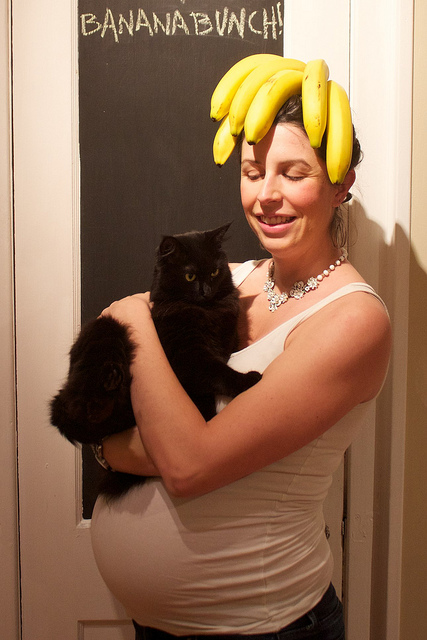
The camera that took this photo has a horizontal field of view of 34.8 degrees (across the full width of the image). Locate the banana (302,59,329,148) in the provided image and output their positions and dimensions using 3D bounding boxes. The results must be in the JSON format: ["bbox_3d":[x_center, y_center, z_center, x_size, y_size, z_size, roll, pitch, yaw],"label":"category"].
[{"bbox_3d":[0.206,-0.457,1.466,0.065,0.207,0.047,24,-34,-37],"label":"banana"}]

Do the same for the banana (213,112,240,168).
[{"bbox_3d":[0.029,-0.417,1.627,0.044,0.141,0.043,9,10,-43],"label":"banana"}]

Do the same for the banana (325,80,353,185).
[{"bbox_3d":[0.253,-0.399,1.449,0.054,0.218,0.067,0,-15,0],"label":"banana"}]

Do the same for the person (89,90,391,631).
[{"bbox_3d":[0.039,0.114,1.523,0.661,1.209,0.446,-4,7,-10],"label":"person"}]

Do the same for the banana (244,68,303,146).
[{"bbox_3d":[0.137,-0.469,1.467,0.062,0.180,0.185,2,9,40],"label":"banana"}]

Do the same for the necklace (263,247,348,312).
[{"bbox_3d":[0.202,-0.074,1.588,0.174,0.024,0.146,-38,20,25],"label":"necklace"}]

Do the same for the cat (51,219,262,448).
[{"bbox_3d":[-0.163,0.070,1.709,0.525,0.609,0.371,0,-33,-15],"label":"cat"}]
